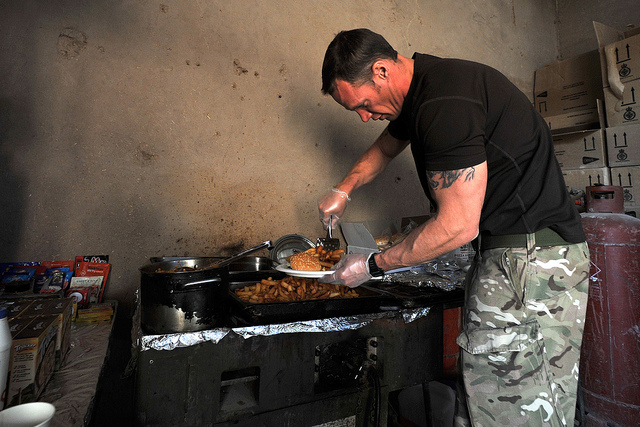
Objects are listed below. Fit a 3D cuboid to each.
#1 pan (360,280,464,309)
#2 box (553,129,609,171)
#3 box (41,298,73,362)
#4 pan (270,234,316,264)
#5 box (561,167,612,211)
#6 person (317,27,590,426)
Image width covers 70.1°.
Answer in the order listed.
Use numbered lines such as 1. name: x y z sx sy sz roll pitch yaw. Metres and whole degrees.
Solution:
1. pan: 0.676 0.539 3.153 0.703 0.075 0.686 0 1 -34
2. box: 2.640 -0.625 4.736 0.321 0.378 0.552 4 -5 -44
3. box: -1.453 0.649 2.587 0.141 0.284 0.211 1 8 -13
4. pan: -0.214 0.274 3.606 0.364 0.217 0.179 -2 -4 -4
5. box: 2.646 -0.353 4.536 0.084 0.220 0.431 0 -5 -34
6. person: 0.775 0.077 2.519 1.251 2.258 0.624 -4 -4 25
